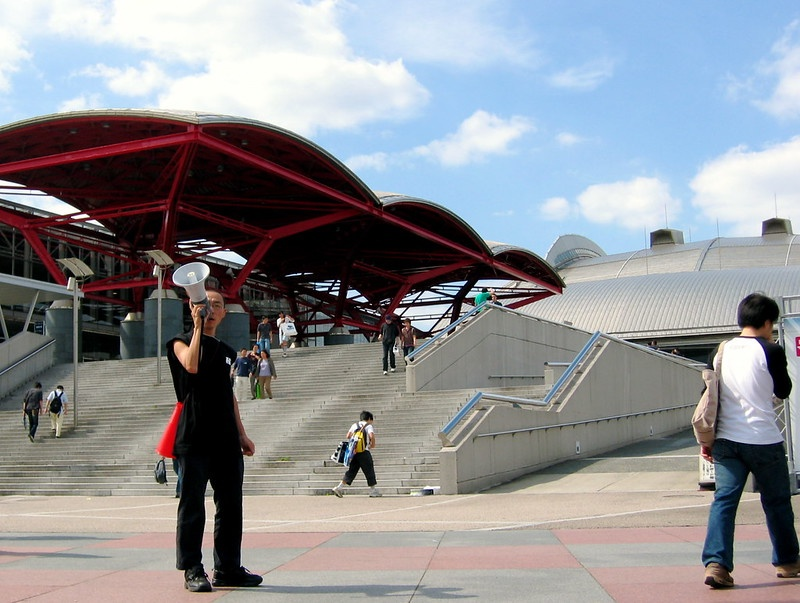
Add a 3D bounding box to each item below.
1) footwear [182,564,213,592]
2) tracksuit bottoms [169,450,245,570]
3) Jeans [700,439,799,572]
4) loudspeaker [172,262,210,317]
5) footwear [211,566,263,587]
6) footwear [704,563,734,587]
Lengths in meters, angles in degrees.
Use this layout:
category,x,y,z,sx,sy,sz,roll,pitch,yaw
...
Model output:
category,x,y,z,sx,sy,sz,roll,pitch,yaw
footwear,-1.746,2.377,7.742,0.229,0.216,0.160,2,-4,-11
tracksuit bottoms,-1.670,1.829,7.879,0.539,1.037,0.185,2,-4,-18
Jeans,3.062,1.762,7.881,0.974,1.091,0.446,1,-4,-9
loudspeaker,-1.842,-0.117,7.886,0.321,0.494,0.318,2,-4,-12
footwear,-1.437,2.420,7.954,0.493,0.203,0.163,0,-3,-1
footwear,2.684,2.313,7.568,0.131,0.132,0.307,-4,-12,38
